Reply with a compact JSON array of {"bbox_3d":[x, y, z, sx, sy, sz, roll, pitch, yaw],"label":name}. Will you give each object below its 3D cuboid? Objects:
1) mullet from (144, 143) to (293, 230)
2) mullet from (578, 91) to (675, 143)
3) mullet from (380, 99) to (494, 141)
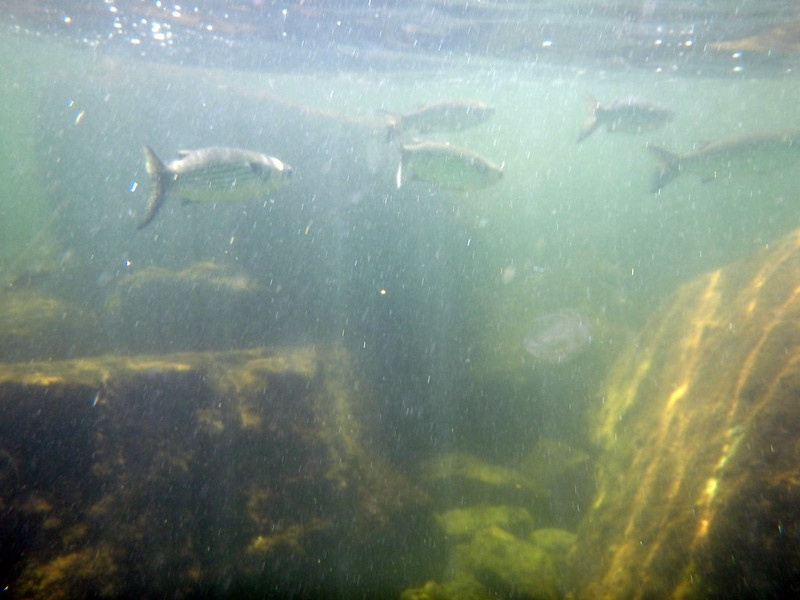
[{"bbox_3d":[-4.577,-3.131,18.520,3.325,1.634,0.765,-10,30,-11],"label":"mullet"},{"bbox_3d":[6.939,-5.629,22.742,2.869,1.325,0.735,-1,-3,3],"label":"mullet"},{"bbox_3d":[1.178,-5.793,23.800,3.492,1.530,0.965,7,32,14],"label":"mullet"}]
